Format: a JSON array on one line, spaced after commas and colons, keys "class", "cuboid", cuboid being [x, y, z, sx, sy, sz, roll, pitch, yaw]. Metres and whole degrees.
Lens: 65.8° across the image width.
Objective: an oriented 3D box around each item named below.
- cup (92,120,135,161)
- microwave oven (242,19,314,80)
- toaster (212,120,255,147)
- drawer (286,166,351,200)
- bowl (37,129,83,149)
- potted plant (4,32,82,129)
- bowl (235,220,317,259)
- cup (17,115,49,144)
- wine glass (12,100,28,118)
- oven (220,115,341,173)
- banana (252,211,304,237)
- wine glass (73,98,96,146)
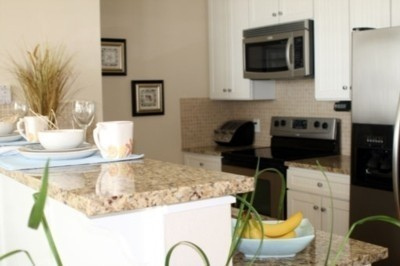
[{"class": "cup", "cuboid": [-0.309, 0.026, 1.050, 0.106, 0.121, 0.166, 9, 7, 27]}, {"class": "microwave oven", "cuboid": [0.978, -0.922, 3.597, 0.557, 0.629, 0.938, -10, 13, -37]}, {"class": "toaster", "cuboid": [0.486, 0.026, 4.209, 0.506, 0.348, 0.370, 0, 3, -36]}, {"class": "drawer", "cuboid": [1.244, 0.473, 2.949, 0.418, 0.226, 0.687, 1, 1, -39]}, {"class": "bowl", "cuboid": [-0.498, 0.022, 1.115, 0.143, 0.071, 0.081, -8, 11, -33]}, {"class": "potted plant", "cuboid": [-1.225, -0.443, 2.438, 0.548, 0.716, 0.257, -6, 10, -20]}, {"class": "bowl", "cuboid": [0.256, 0.353, 1.035, 0.210, 0.083, 0.307, -2, -2, 36]}, {"class": "cup", "cuboid": [-0.826, -0.011, 1.526, 0.148, 0.140, 0.098, 2, 11, -20]}, {"class": "wine glass", "cuboid": [-1.136, -0.148, 1.949, 0.099, 0.112, 0.099, 0, 0, -16]}, {"class": "oven", "cuboid": [0.898, 0.083, 3.523, 1.037, 0.490, 0.918, -8, 11, -31]}, {"class": "banana", "cuboid": [0.266, 0.323, 1.115, 0.195, 0.123, 0.060, -10, -35, 18]}, {"class": "wine glass", "cuboid": [-0.646, -0.054, 1.740, 0.112, 0.290, 0.110, 6, 22, -5]}]
